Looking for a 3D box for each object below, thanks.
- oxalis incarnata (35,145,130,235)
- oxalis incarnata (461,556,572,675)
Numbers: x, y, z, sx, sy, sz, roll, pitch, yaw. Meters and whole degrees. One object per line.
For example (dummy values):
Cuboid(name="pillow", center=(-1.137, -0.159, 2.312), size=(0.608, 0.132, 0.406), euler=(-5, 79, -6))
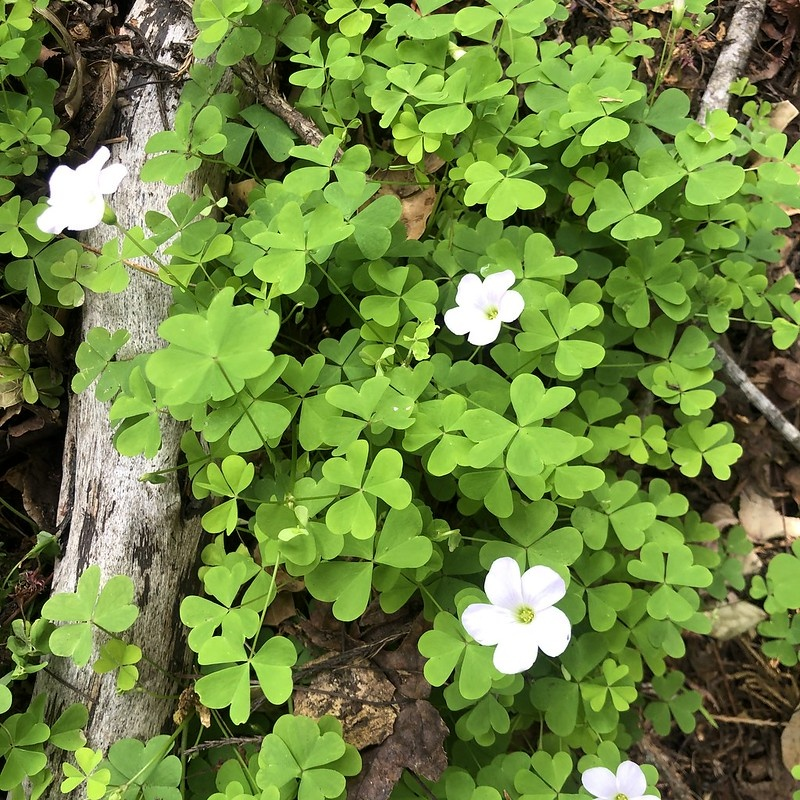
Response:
Cuboid(name="oxalis incarnata", center=(-0.982, -0.634, 2.279), size=(0.227, 0.255, 0.261), euler=(6, 35, -20))
Cuboid(name="oxalis incarnata", center=(0.342, 0.560, 1.958), size=(0.109, 0.312, 0.299), euler=(28, 30, -39))
